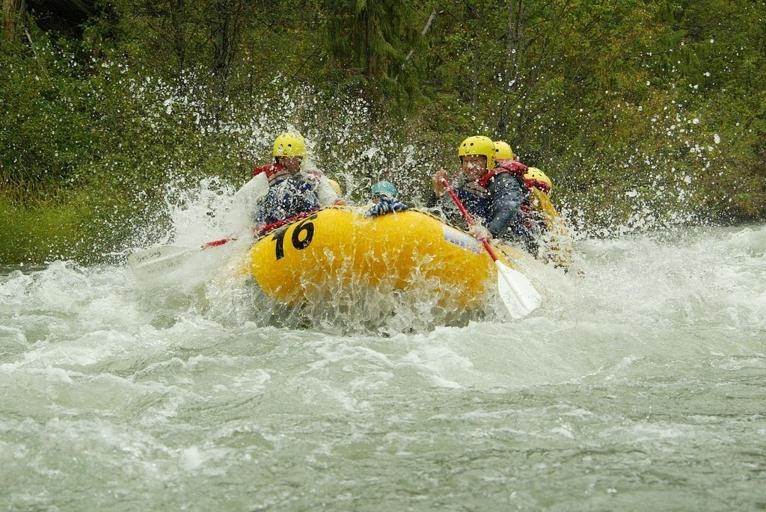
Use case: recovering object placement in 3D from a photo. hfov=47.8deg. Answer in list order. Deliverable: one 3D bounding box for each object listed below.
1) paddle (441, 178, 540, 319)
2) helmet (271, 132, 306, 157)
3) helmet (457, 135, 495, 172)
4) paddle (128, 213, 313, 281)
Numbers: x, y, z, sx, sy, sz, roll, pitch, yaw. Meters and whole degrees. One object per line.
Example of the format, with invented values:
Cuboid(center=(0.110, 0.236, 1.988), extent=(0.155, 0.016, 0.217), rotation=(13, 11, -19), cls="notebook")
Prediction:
Cuboid(center=(1.350, -0.069, 11.189), extent=(0.452, 0.109, 2.254), rotation=(-15, 60, -24), cls="paddle")
Cuboid(center=(-1.357, -1.605, 12.403), extent=(0.405, 0.340, 0.316), rotation=(3, 5, 5), cls="helmet")
Cuboid(center=(1.374, -1.521, 12.569), extent=(0.466, 0.511, 0.594), rotation=(13, 19, 39), cls="helmet")
Cuboid(center=(-2.244, -0.127, 12.336), extent=(2.910, 0.433, 0.126), rotation=(-21, -10, -4), cls="paddle")
